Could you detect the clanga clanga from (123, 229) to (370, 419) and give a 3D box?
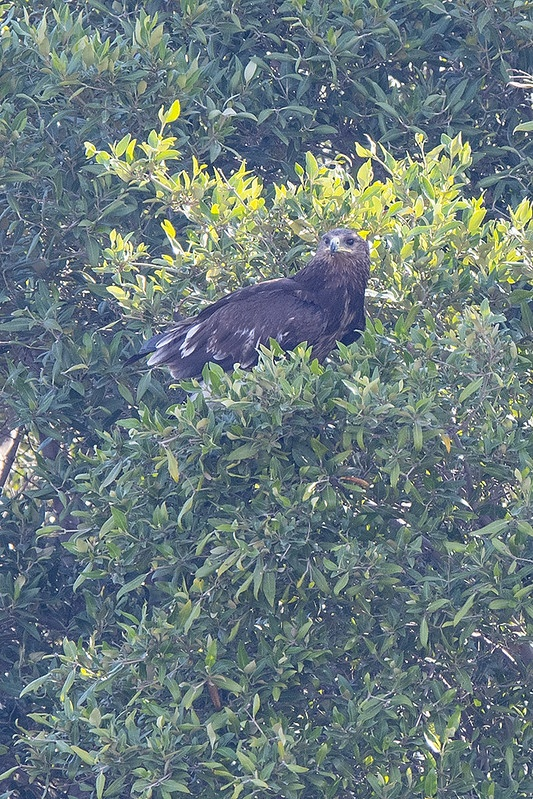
[{"bbox_3d":[-0.059,-0.425,8.138,1.552,0.939,0.733,3,-1,27],"label":"clanga clanga"}]
